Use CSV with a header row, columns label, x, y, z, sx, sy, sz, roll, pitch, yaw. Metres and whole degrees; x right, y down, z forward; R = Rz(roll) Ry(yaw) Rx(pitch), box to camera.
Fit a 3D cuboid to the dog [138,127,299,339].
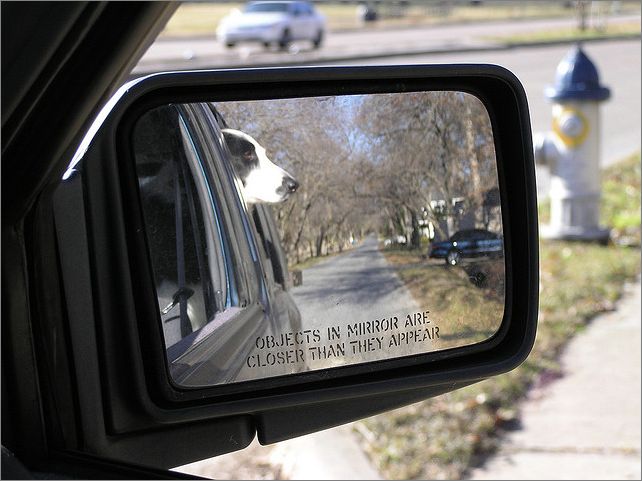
label,x,y,z,sx,sy,sz,roll,pitch,yaw
dog,-0.213,-0.023,1.856,0.342,0.231,0.452,-6,81,2
